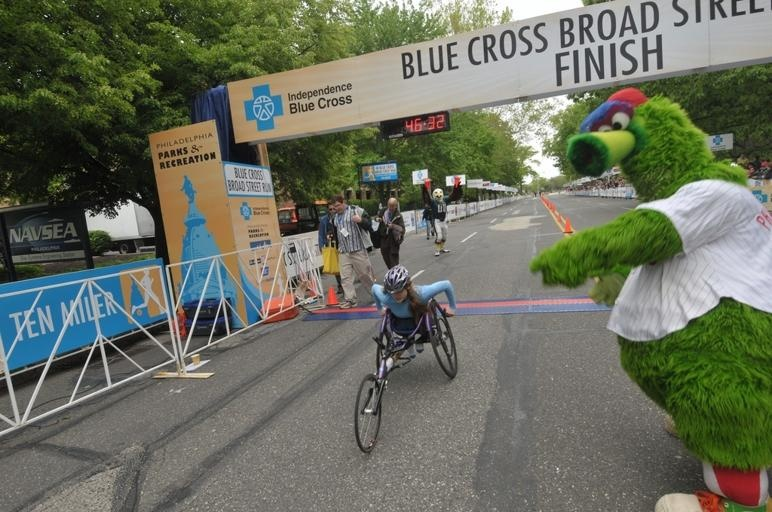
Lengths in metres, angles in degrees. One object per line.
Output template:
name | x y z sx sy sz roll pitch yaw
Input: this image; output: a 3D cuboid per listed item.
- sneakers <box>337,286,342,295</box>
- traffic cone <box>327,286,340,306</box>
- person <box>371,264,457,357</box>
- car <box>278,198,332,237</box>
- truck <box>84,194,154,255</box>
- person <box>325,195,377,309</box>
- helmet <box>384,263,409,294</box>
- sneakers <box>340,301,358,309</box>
sneakers | -1.117 0.798 12.163 0.147 0.192 0.471 -2 -9 -5
traffic cone | -1.177 0.880 11.102 0.328 0.382 0.339 -4 14 -4
person | 0.384 0.638 6.781 0.940 1.144 0.530 -15 11 -28
car | -3.856 -1.506 23.156 1.736 1.628 2.992 -2 12 13
truck | -14.210 -1.390 27.695 2.700 2.781 5.423 -15 11 -26
person | -0.712 -0.104 10.389 0.810 2.273 0.577 -7 10 14
helmet | 0.135 0.277 6.394 0.244 0.152 0.362 -2 31 26
sneakers | -0.776 0.997 10.625 0.317 0.147 0.135 3 -2 -23
